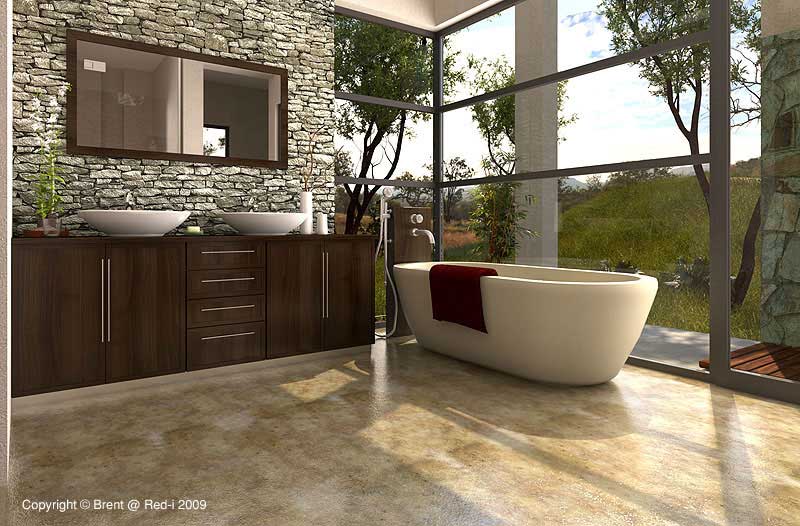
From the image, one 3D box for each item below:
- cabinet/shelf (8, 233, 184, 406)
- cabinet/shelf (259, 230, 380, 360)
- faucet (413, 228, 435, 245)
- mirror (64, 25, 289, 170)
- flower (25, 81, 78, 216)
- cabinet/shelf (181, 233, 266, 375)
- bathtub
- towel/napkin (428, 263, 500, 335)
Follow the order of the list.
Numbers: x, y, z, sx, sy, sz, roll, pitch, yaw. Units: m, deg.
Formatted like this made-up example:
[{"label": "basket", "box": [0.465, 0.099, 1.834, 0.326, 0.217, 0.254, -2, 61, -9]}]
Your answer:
[{"label": "cabinet/shelf", "box": [-2.233, 0.395, 3.853, 1.234, 1.062, 0.453, -5, -11, -13]}, {"label": "cabinet/shelf", "box": [-0.600, 0.311, 4.652, 1.235, 1.078, 0.471, -2, -4, 28]}, {"label": "faucet", "box": [0.230, -0.267, 5.188, 0.232, 0.197, 0.106, -2, 14, -8]}, {"label": "mirror", "box": [-2.043, -1.462, 4.332, 1.645, 0.863, 0.046, 1, -2, -35]}, {"label": "flower", "box": [-2.804, -0.840, 3.845, 0.256, 0.963, 0.408, -5, 14, -16]}, {"label": "cabinet/shelf", "box": [-1.448, 0.318, 4.073, 0.689, 1.058, 0.304, -5, 14, -19]}, {"label": "bathtub", "box": [0.968, 0.439, 4.374, 2.238, 0.911, 1.118, 6, 14, 27]}, {"label": "towel/napkin", "box": [0.491, 0.275, 4.159, 0.571, 0.557, 0.192, 11, 17, 37]}]
